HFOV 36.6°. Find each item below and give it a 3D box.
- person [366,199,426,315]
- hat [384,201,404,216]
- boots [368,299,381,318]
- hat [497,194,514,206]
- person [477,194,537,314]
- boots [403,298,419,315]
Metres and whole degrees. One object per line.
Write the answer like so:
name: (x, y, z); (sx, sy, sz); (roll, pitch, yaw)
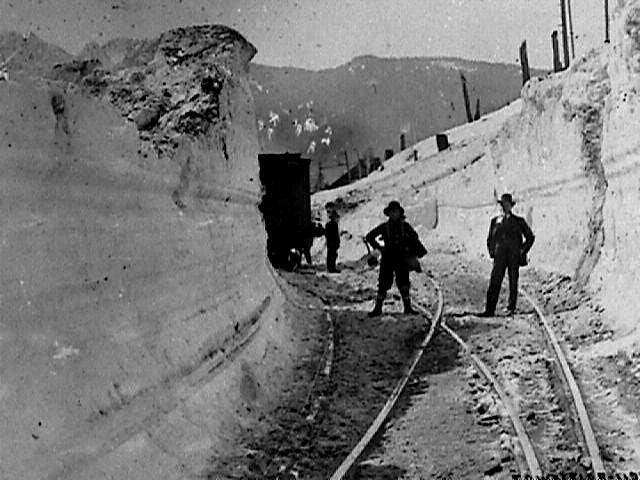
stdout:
person: (1.569, 0.331, 20.139); (1.057, 2.647, 0.665); (0, 23, 4)
hat: (1.514, -0.621, 19.741); (0.357, 0.318, 0.332); (-2, 6, 6)
boots: (1.142, 1.381, 19.908); (0.289, 0.342, 0.644); (-2, 7, 3)
hat: (4.157, -0.882, 21.572); (0.395, 0.224, 0.601); (4, 2, 16)
person: (3.761, 0.287, 19.535); (0.918, 2.577, 0.667); (1, 26, 16)
boots: (1.861, 1.367, 19.710); (0.318, 0.299, 0.332); (-2, 7, 5)
